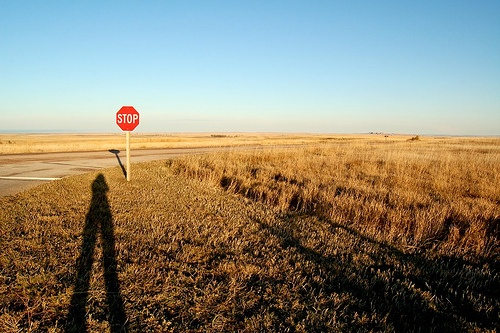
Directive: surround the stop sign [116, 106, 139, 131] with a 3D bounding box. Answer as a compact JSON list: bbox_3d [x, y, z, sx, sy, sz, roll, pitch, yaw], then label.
[{"bbox_3d":[-4.838,-1.851,12.510,0.767,1.003,0.702,-1,12,-5],"label":"stop sign"}]
